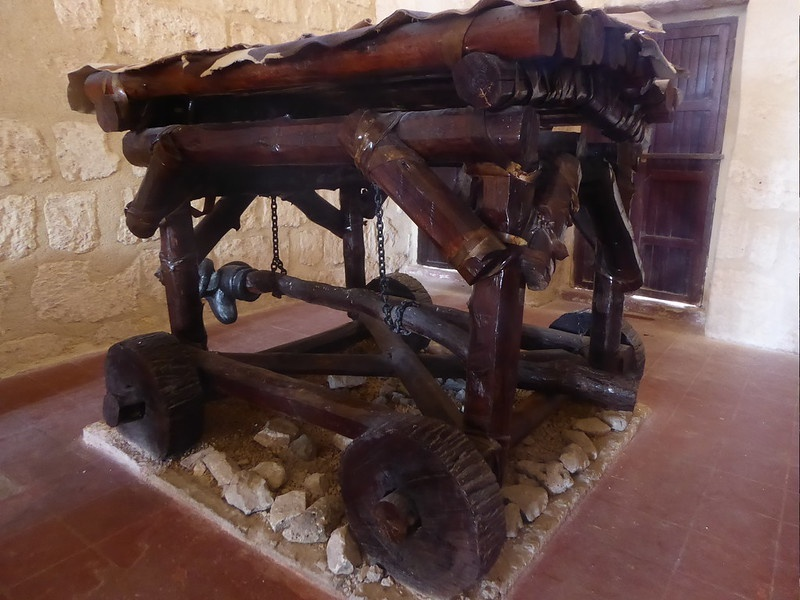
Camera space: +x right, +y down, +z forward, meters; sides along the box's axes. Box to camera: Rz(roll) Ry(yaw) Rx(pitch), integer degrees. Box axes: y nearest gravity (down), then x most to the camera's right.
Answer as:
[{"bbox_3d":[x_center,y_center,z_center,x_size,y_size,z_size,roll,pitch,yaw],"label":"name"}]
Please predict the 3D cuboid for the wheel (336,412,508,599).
[{"bbox_3d":[0.086,0.716,2.030,0.512,0.538,0.303,-5,8,29],"label":"wheel"}]

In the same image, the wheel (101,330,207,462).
[{"bbox_3d":[-1.176,0.452,2.707,0.496,0.591,0.301,4,16,36],"label":"wheel"}]

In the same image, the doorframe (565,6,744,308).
[{"bbox_3d":[1.815,-0.998,4.327,0.920,1.968,0.182,9,4,38],"label":"doorframe"}]

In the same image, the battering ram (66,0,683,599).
[{"bbox_3d":[0.187,-0.229,3.045,2.574,2.065,2.341,8,18,32],"label":"battering ram"}]

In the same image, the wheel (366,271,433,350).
[{"bbox_3d":[-0.006,0.065,3.102,0.130,0.458,0.434,-13,14,-33],"label":"wheel"}]
